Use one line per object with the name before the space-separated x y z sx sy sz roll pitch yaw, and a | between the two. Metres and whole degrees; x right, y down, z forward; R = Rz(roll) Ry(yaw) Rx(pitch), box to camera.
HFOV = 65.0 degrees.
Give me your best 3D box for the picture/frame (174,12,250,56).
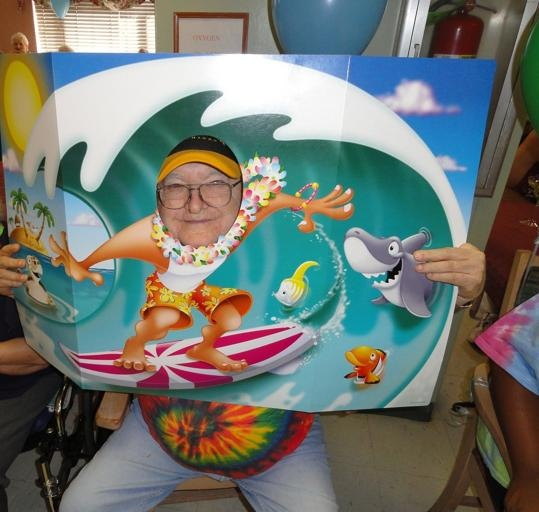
picture/frame | -0.235 -0.907 1.706 0.287 0.147 0.073 0 28 -11
